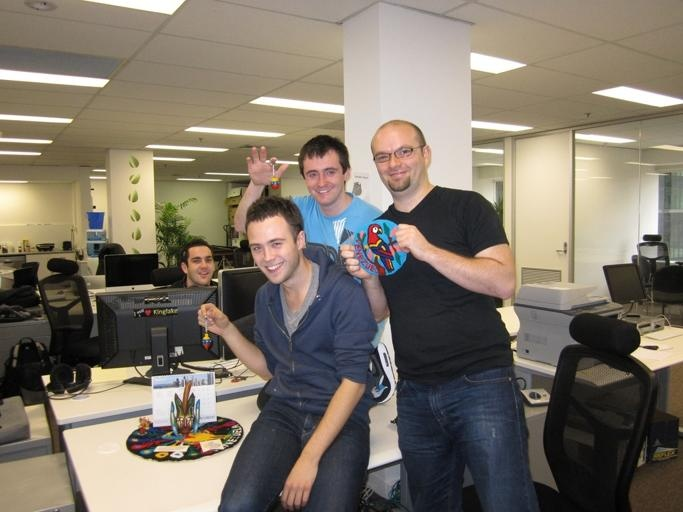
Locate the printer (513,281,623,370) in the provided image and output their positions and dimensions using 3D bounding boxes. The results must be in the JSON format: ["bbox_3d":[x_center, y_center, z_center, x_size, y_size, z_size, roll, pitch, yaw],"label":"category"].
[{"bbox_3d":[1.625,0.393,3.563,0.698,0.678,0.564,-2,3,-39],"label":"printer"}]

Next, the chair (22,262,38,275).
[{"bbox_3d":[-5.061,0.205,7.813,0.212,0.242,0.213,-1,-3,6],"label":"chair"}]

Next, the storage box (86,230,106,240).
[{"bbox_3d":[-4.768,-0.400,9.335,0.350,0.193,0.238,-1,-2,-18],"label":"storage box"}]

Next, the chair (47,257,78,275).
[{"bbox_3d":[-2.942,0.117,5.080,0.254,0.145,0.460,-7,4,-31],"label":"chair"}]

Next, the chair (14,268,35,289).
[{"bbox_3d":[-4.734,0.338,7.170,0.298,0.345,0.278,-1,1,2],"label":"chair"}]

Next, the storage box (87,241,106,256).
[{"bbox_3d":[-4.596,-0.138,9.008,0.272,0.269,0.199,-3,11,-27],"label":"storage box"}]

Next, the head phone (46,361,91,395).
[{"bbox_3d":[-1.639,0.739,2.946,0.171,0.203,0.078,-1,-21,-10],"label":"head phone"}]

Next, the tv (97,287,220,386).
[{"bbox_3d":[-1.094,0.473,2.887,0.539,0.407,0.168,-2,15,-7],"label":"tv"}]
